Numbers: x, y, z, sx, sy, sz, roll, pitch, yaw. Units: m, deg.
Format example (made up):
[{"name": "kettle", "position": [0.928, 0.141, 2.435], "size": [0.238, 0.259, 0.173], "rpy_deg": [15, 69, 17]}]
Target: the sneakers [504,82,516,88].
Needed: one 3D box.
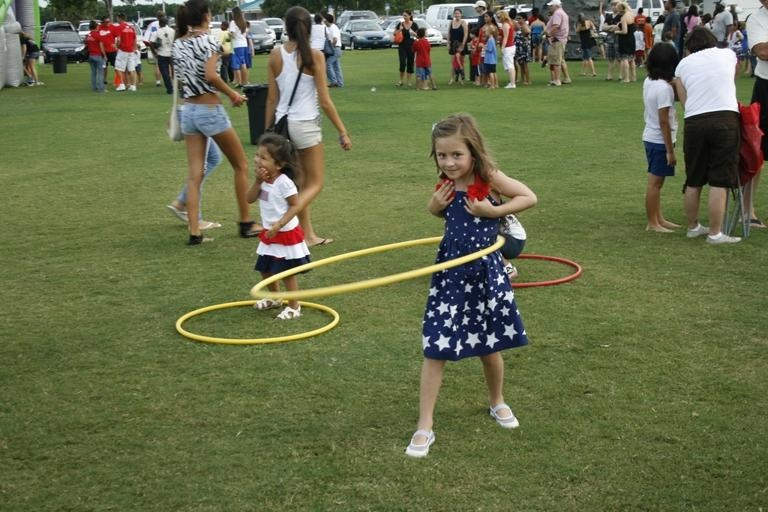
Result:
[{"name": "sneakers", "position": [3.529, -4.873, 20.507], "size": [0.148, 0.170, 0.424], "rpy_deg": [-18, 19, -39]}]

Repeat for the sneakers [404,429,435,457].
[{"name": "sneakers", "position": [0.234, 1.213, 4.682], "size": [0.220, 0.149, 0.132], "rpy_deg": [-5, 13, -12]}]

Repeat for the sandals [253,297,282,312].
[{"name": "sandals", "position": [-1.079, 0.439, 6.619], "size": [0.129, 0.109, 0.303], "rpy_deg": [0, -3, 43]}]

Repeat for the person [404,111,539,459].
[{"name": "person", "position": [0.551, 0.161, 4.754], "size": [0.904, 2.162, 0.636], "rpy_deg": [-4, 13, -8]}]

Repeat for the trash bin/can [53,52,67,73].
[{"name": "trash bin/can", "position": [-13.589, -8.080, 30.283], "size": [0.522, 0.813, 0.872], "rpy_deg": [-8, 14, -23]}]

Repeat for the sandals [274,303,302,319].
[{"name": "sandals", "position": [-0.850, 0.503, 6.494], "size": [0.106, 0.075, 0.206], "rpy_deg": [-2, -2, 41]}]

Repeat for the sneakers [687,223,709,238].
[{"name": "sneakers", "position": [3.454, -0.286, 8.012], "size": [0.328, 0.127, 0.111], "rpy_deg": [-12, 20, -30]}]

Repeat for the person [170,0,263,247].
[{"name": "person", "position": [-1.892, -1.469, 7.931], "size": [0.892, 2.650, 0.691], "rpy_deg": [-2, 13, 1]}]

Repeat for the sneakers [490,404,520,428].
[{"name": "sneakers", "position": [0.813, 1.081, 4.913], "size": [0.116, 0.081, 0.211], "rpy_deg": [-20, 29, -27]}]

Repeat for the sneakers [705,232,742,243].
[{"name": "sneakers", "position": [3.688, -0.179, 7.829], "size": [0.430, 0.139, 0.134], "rpy_deg": [-4, 12, -14]}]

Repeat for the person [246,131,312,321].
[{"name": "person", "position": [-0.955, -0.439, 6.403], "size": [0.486, 1.266, 0.491], "rpy_deg": [-5, 13, -11]}]

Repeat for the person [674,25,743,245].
[{"name": "person", "position": [3.449, -1.306, 7.749], "size": [0.511, 2.313, 0.684], "rpy_deg": [-10, 15, -28]}]

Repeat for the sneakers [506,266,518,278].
[{"name": "sneakers", "position": [1.231, 0.150, 7.008], "size": [0.125, 0.136, 0.326], "rpy_deg": [-5, 0, 13]}]
